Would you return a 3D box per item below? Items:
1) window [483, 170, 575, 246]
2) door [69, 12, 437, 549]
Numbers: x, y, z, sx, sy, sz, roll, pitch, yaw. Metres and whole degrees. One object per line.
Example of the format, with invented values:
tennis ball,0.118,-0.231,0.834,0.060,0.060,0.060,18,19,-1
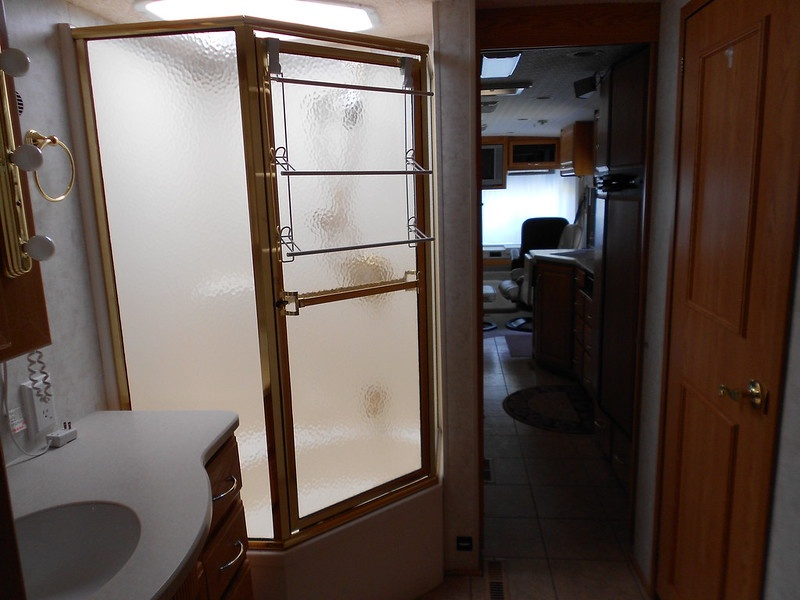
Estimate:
window,1.733,-1.250,8.171,1.098,1.132,0.593,1,18,7
door,-0.466,-0.054,2.527,1.362,1.993,0.507,-7,13,-23
